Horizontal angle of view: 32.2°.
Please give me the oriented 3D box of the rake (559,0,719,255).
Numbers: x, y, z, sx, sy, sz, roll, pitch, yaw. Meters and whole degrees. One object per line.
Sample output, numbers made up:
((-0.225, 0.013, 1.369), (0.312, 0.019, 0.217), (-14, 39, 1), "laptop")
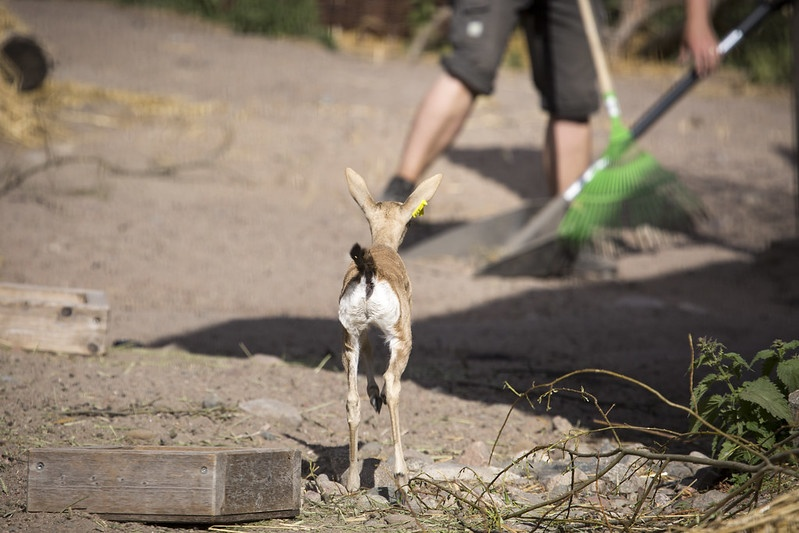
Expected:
((2.381, -1.212, 13.623), (1.445, 1.719, 1.326), (9, 39, -6), "rake")

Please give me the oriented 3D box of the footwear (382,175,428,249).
((-0.050, -0.515, 13.691), (0.317, 0.674, 0.668), (18, 33, 37), "footwear")
